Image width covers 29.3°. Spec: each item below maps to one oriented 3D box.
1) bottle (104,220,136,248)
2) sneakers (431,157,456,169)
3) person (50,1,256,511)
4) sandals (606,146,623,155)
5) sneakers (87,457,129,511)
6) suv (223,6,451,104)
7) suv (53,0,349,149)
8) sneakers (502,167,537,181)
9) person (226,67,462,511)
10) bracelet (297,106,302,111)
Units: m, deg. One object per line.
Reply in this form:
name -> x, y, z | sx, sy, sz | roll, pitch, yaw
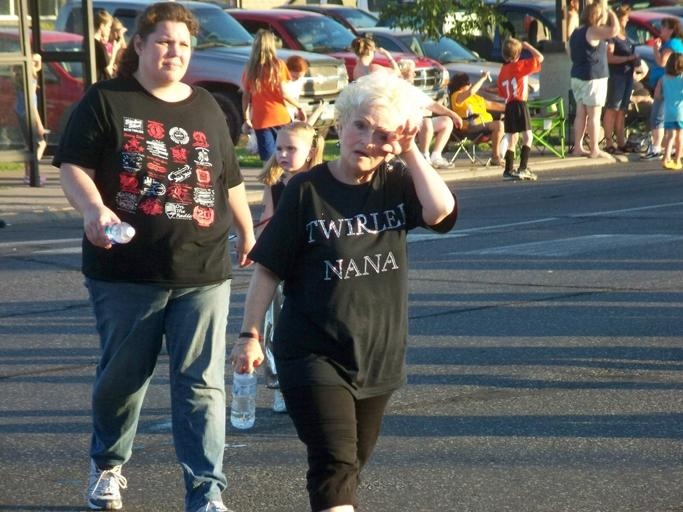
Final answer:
bottle -> -1.152, -0.115, 6.909 | 0.190, 0.118, 0.125 | 8, 25, 24
sneakers -> 1.557, -1.381, 19.453 | 0.485, 0.198, 0.160 | 1, 17, -26
person -> -1.032, 0.053, 7.043 | 0.895, 2.823, 0.746 | -1, 10, -12
sandals -> 4.454, -1.722, 21.266 | 0.255, 0.096, 0.133 | 7, 11, 31
sneakers -> -1.322, 1.319, 7.273 | 0.157, 0.220, 0.338 | 2, -10, -16
suv -> -0.087, -3.374, 23.092 | 3.526, 1.410, 1.927 | 8, 16, 23
suv -> -2.146, -3.105, 21.133 | 4.852, 2.132, 2.505 | 7, 13, 24
sneakers -> 2.541, -1.167, 18.566 | 0.500, 0.212, 0.178 | -2, 7, -16
person -> -0.001, 0.138, 6.616 | 0.713, 2.135, 0.888 | 10, 14, 42
bracelet -> -0.516, -1.793, 15.748 | 0.046, 0.047, 0.036 | 20, 8, 16
